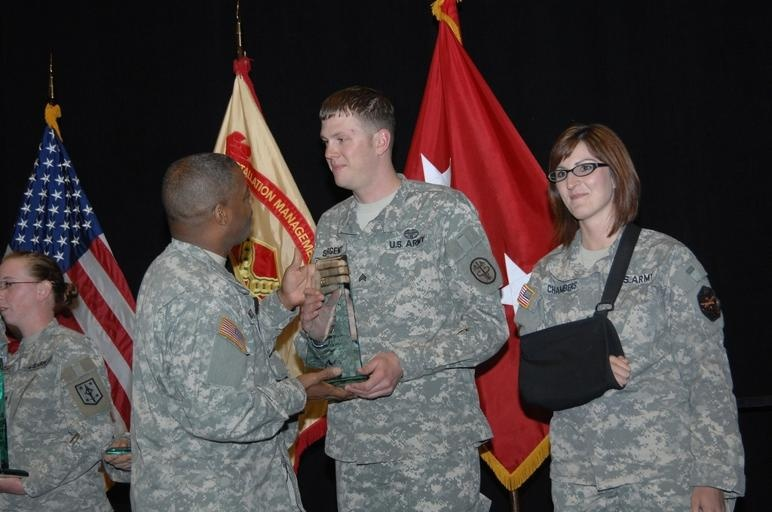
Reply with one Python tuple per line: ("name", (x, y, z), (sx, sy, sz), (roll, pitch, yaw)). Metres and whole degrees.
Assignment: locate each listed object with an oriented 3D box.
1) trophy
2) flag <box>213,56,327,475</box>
("trophy", (-0.258, 0.311, 3.636), (0.292, 0.660, 0.240), (-5, 26, 1))
("flag", (-0.795, 0.045, 4.715), (0.650, 2.603, 0.450), (5, 6, -12))
